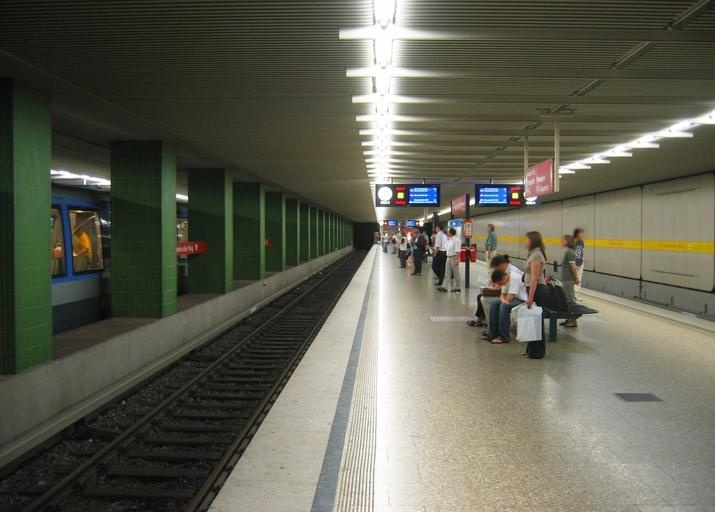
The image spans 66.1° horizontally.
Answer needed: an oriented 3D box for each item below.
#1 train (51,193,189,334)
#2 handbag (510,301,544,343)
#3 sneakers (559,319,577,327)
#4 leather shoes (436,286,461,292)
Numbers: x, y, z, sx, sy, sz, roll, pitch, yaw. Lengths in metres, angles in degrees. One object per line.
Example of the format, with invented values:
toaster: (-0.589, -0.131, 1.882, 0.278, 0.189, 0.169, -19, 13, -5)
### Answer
train: (-4.590, 0.175, 10.414, 1.528, 1.824, 2.882, 0, 1, 0)
handbag: (2.578, 1.017, 8.285, 0.432, 0.590, 0.455, 1, 9, 15)
sneakers: (4.135, 1.291, 10.586, 0.416, 0.177, 0.141, 1, -1, -6)
leather shoes: (2.624, 0.955, 15.673, 0.673, 0.293, 0.226, -1, 5, 4)
